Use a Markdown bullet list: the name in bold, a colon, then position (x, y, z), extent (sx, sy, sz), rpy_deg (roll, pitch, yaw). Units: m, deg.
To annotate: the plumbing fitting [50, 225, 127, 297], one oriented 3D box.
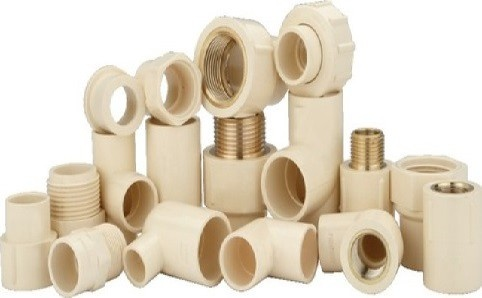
- **plumbing fitting**: position (-2.019, 1.467, 6.493), extent (0.645, 0.875, 0.731), rpy_deg (-2, -1, 32)
